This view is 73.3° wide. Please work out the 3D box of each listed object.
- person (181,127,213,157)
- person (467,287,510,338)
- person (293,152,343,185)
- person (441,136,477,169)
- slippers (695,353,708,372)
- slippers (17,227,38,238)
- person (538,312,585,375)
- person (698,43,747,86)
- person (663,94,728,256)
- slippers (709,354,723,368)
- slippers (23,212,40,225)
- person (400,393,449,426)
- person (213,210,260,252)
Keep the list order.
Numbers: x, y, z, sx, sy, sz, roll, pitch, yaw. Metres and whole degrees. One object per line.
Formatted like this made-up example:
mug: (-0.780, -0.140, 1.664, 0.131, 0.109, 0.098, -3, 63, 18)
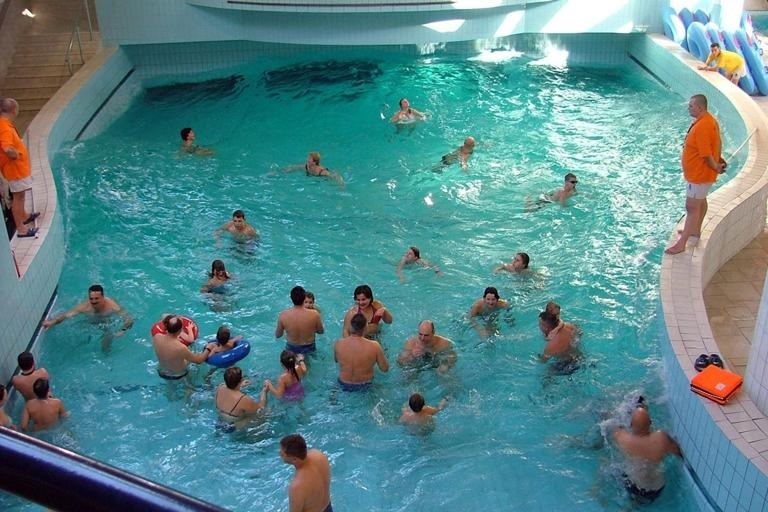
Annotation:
person: (-4.309, -2.549, 11.668, 0.616, 0.617, 0.904, -7, 6, -34)
person: (1.533, 0.766, 7.390, 0.595, 0.701, 0.426, -4, 5, -2)
person: (-1.364, -1.893, 11.014, 0.880, 0.362, 0.684, 31, 40, 26)
person: (1.674, -2.267, 11.464, 0.959, 0.312, 0.483, -38, -9, 5)
slippers: (3.339, 1.095, 5.426, 0.117, 0.091, 0.191, 8, 44, 30)
slippers: (-5.305, -0.361, 7.699, 0.230, 0.078, 0.118, -5, 29, -12)
person: (2.301, 1.067, 6.647, 0.636, 0.865, 0.233, -6, 5, -27)
person: (8.363, -4.724, 12.741, 1.520, 0.882, 0.570, -7, 6, -35)
person: (4.015, -1.071, 6.671, 0.673, 2.129, 1.046, -1, 5, 33)
slippers: (3.497, 1.099, 5.429, 0.132, 0.073, 0.129, -6, 30, -3)
slippers: (-5.425, -0.593, 7.962, 0.099, 0.074, 0.275, 13, 38, -5)
person: (0.430, 1.833, 6.044, 0.511, 0.392, 0.721, 2, -29, 10)
person: (-2.607, -0.411, 9.059, 0.740, 0.732, 0.463, -2, 5, 24)
